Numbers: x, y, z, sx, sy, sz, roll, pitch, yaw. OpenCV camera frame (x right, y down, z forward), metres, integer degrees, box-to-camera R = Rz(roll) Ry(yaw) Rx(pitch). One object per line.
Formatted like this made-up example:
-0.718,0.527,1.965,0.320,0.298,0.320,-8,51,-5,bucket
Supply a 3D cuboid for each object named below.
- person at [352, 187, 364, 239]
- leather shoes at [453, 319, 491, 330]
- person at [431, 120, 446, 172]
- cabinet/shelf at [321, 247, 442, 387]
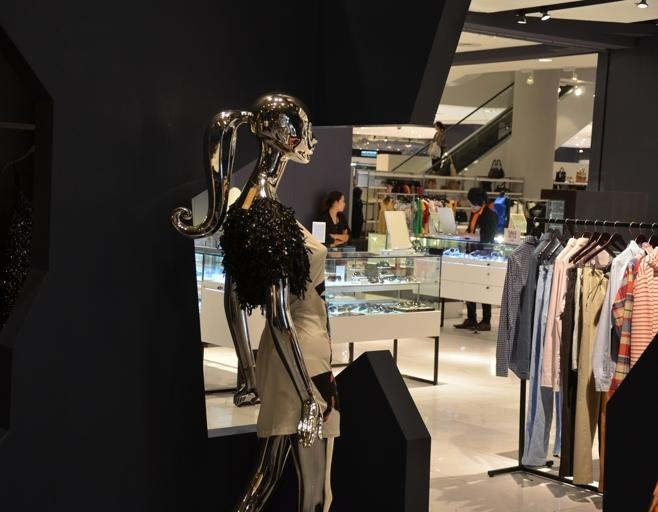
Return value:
0.619,-0.954,11.335,0.205,1.126,0.784,1,4,6,person
2.282,1.106,8.292,0.548,0.240,0.220,3,-3,2,leather shoes
3.075,-3.083,14.669,0.406,1.552,1.129,2,4,13,person
0.438,0.428,5.545,1.613,1.554,0.890,-3,4,-35,cabinet/shelf
